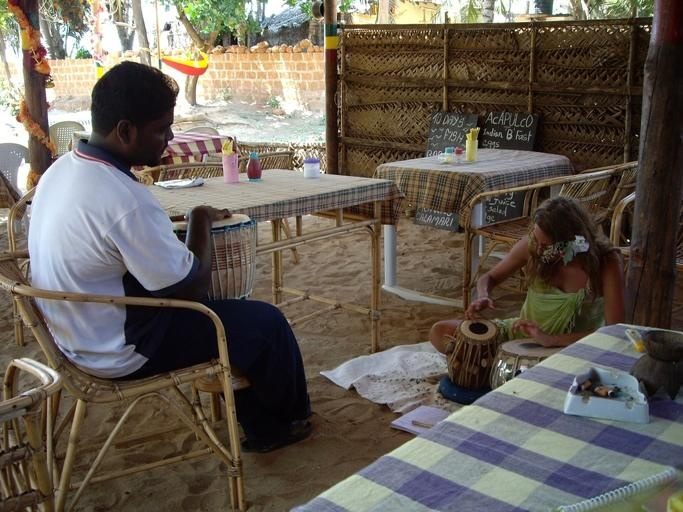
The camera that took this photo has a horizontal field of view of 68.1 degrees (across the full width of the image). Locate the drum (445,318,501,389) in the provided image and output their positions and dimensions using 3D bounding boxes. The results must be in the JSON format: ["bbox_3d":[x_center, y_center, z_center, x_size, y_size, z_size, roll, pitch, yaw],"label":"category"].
[{"bbox_3d":[0.706,0.572,3.106,0.394,0.362,0.357,2,17,3],"label":"drum"}]

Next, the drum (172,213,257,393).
[{"bbox_3d":[-0.567,0.219,2.614,0.447,0.836,0.468,3,19,-1],"label":"drum"}]

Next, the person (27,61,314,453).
[{"bbox_3d":[-0.743,0.155,2.234,0.554,1.898,0.929,12,20,42],"label":"person"}]

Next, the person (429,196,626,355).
[{"bbox_3d":[1.161,0.203,2.980,0.884,0.923,1.165,-25,23,-34],"label":"person"}]
